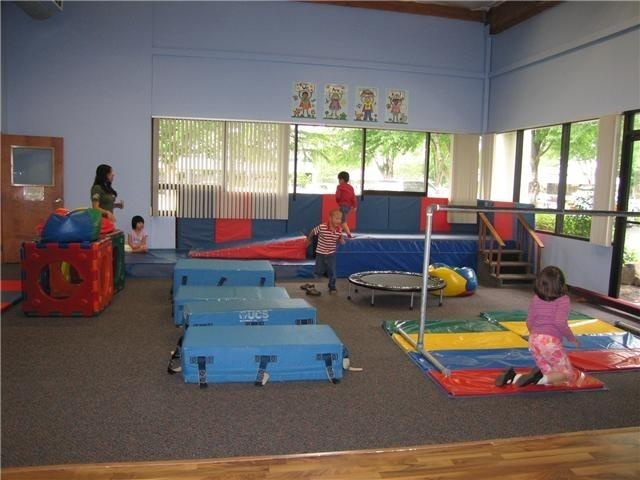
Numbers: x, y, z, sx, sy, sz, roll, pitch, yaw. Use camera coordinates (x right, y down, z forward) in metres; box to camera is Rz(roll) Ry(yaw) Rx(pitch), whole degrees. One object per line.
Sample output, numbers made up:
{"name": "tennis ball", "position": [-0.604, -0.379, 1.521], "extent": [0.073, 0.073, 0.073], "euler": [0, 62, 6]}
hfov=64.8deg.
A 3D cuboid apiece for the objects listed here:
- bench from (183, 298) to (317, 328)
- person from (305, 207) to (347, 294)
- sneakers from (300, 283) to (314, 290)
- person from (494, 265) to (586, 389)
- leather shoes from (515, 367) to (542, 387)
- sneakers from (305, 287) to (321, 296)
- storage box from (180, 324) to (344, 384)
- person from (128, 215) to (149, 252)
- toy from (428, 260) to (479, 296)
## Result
{"name": "bench", "position": [-0.699, 0.742, 5.026], "extent": [0.813, 0.179, 0.478], "euler": [0, 6, -11]}
{"name": "person", "position": [0.037, 0.138, 7.574], "extent": [0.565, 1.305, 0.985], "euler": [2, 12, 1]}
{"name": "sneakers", "position": [-0.192, 0.700, 7.516], "extent": [0.086, 0.086, 0.225], "euler": [1, 2, -33]}
{"name": "person", "position": [1.977, 0.773, 4.407], "extent": [0.840, 1.057, 0.292], "euler": [1, 12, -4]}
{"name": "leather shoes", "position": [1.818, 1.225, 4.392], "extent": [0.270, 0.171, 0.068], "euler": [-2, 12, -20]}
{"name": "sneakers", "position": [-0.082, 0.758, 7.308], "extent": [0.255, 0.103, 0.083], "euler": [1, 5, 4]}
{"name": "storage box", "position": [-0.486, 1.015, 4.495], "extent": [0.987, 0.248, 0.632], "euler": [-1, 13, -6]}
{"name": "person", "position": [-3.187, -0.126, 8.781], "extent": [0.283, 0.605, 0.804], "euler": [-2, 12, -18]}
{"name": "toy", "position": [1.959, 0.587, 7.382], "extent": [0.528, 0.212, 0.519], "euler": [7, 4, 7]}
